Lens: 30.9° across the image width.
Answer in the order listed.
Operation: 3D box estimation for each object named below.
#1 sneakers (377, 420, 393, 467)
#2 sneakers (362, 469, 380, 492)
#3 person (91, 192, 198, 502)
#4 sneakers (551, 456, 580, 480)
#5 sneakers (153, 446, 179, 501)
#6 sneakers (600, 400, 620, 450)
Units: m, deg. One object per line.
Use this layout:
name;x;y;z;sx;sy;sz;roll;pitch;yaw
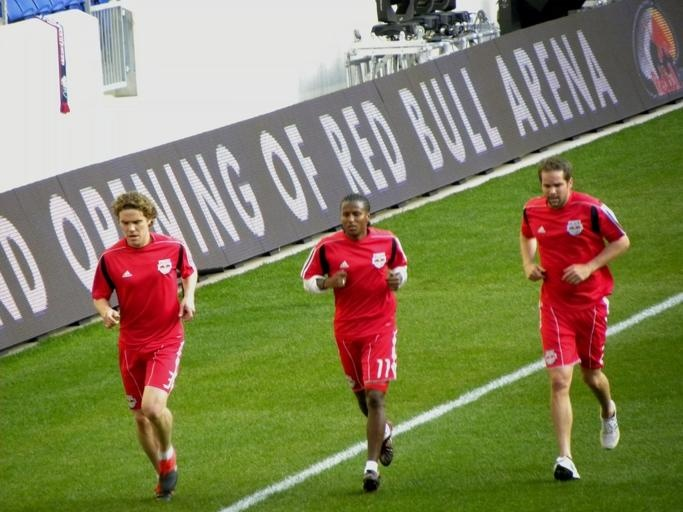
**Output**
sneakers;0.517;2.075;13.737;0.154;0.494;0.202;1;14;13
sneakers;0.326;2.398;13.258;0.108;0.289;0.142;1;52;-1
person;-1.993;1.155;13.658;1.043;2.158;0.710;-15;9;-13
sneakers;2.383;2.266;13.232;0.156;0.165;0.356;-3;-22;17
sneakers;-1.893;2.355;13.527;0.182;0.576;0.239;3;11;12
sneakers;2.984;1.853;13.770;0.185;0.553;0.208;0;5;24
